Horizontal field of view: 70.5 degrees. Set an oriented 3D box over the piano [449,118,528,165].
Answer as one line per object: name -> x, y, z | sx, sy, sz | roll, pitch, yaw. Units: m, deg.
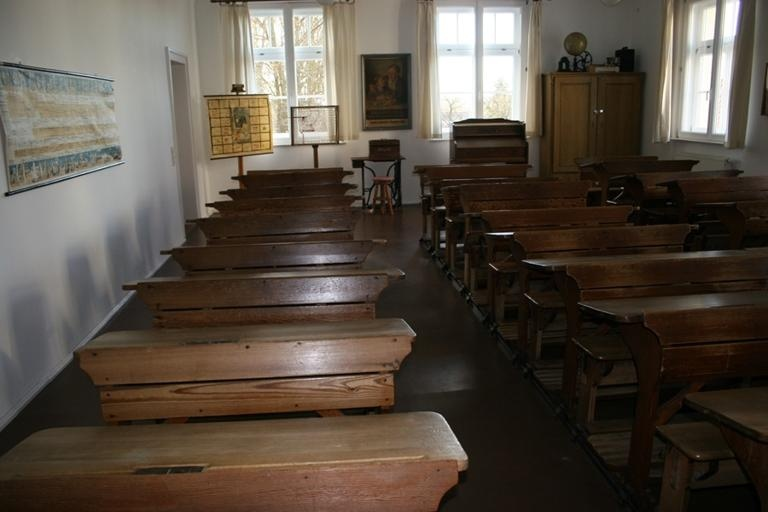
piano -> 1.890, -2.030, 9.719 | 1.285, 0.819, 0.855 | -1, 14, 0
